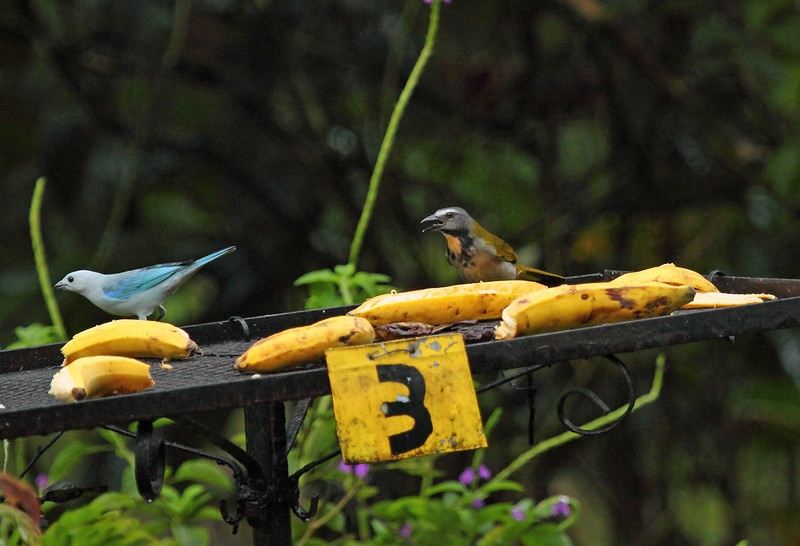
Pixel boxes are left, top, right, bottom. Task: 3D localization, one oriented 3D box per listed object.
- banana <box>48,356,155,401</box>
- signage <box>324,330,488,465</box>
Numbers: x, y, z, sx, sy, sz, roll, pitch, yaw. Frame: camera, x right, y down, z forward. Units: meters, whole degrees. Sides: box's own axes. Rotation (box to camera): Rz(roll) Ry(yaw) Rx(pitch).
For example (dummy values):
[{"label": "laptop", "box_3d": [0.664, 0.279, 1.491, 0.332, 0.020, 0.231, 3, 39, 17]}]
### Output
[{"label": "banana", "box_3d": [-0.976, 0.346, 3.185, 0.327, 0.155, 0.175, -5, -14, -15]}, {"label": "signage", "box_3d": [0.011, 0.402, 3.256, 0.515, 0.470, 0.077, -11, -15, -8]}]
